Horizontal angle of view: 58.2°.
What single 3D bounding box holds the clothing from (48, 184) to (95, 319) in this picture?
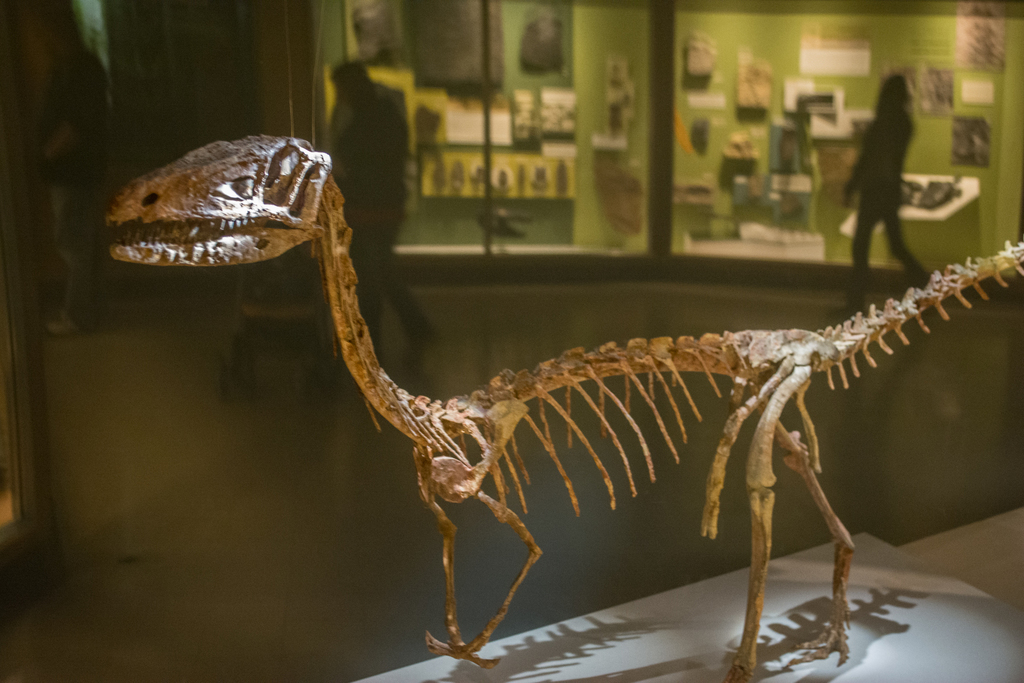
[{"bbox_3d":[-1.916,-0.374,4.063,0.180,0.606,0.120,-5,15,-13],"label":"clothing"}]
